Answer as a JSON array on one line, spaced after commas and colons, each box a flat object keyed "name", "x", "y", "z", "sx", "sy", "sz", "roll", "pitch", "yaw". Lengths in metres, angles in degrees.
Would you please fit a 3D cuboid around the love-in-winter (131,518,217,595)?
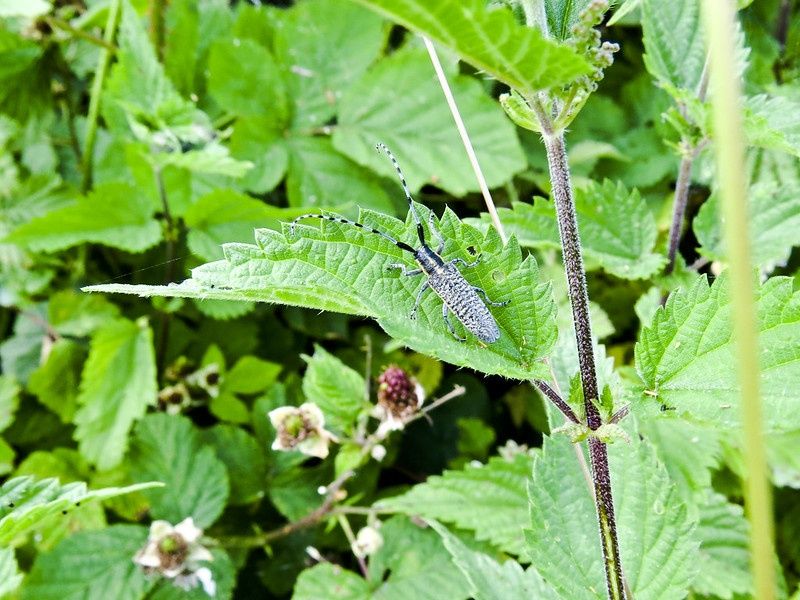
[{"name": "love-in-winter", "x": -0.439, "y": 0.520, "z": 1.633, "sx": 0.173, "sy": 0.063, "sz": 0.142, "roll": 30, "pitch": 81, "yaw": 13}]

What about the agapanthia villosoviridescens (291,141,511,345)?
[{"name": "agapanthia villosoviridescens", "x": 0.032, "y": -0.101, "z": 1.548, "sx": 0.222, "sy": 0.111, "sz": 0.409, "roll": -27, "pitch": 68, "yaw": -20}]

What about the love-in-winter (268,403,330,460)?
[{"name": "love-in-winter", "x": -0.228, "y": 0.291, "z": 1.825, "sx": 0.103, "sy": 0.069, "sz": 0.136, "roll": -31, "pitch": 48, "yaw": -32}]

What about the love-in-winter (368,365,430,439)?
[{"name": "love-in-winter", "x": -0.020, "y": 0.249, "z": 1.954, "sx": 0.082, "sy": 0.170, "sz": 0.117, "roll": 41, "pitch": 56, "yaw": 7}]
